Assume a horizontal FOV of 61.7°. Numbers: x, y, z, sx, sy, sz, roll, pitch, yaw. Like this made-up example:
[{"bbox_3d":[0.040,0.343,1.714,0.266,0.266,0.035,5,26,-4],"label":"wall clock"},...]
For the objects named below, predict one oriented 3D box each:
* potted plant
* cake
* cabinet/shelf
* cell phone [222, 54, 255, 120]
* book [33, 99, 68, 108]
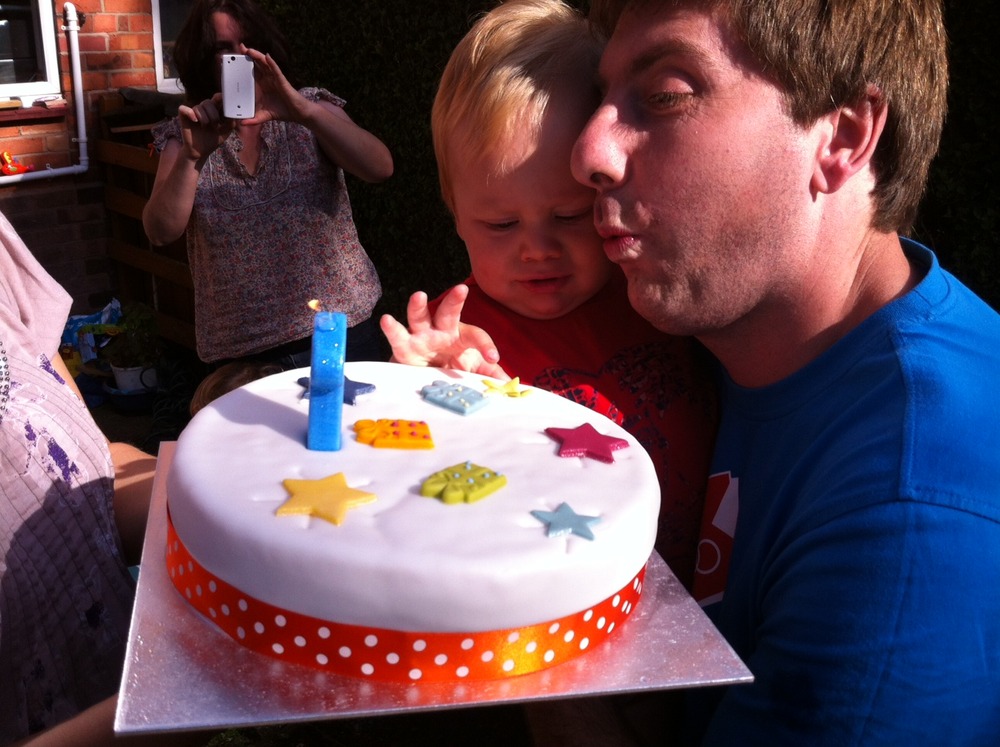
[{"bbox_3d":[-2.442,-0.161,5.597,0.477,0.805,0.563,-4,2,-9],"label":"potted plant"},{"bbox_3d":[-0.145,0.208,1.402,0.798,0.203,0.601,12,36,10],"label":"cake"},{"bbox_3d":[-2.116,-0.950,5.010,0.745,1.325,1.429,-5,15,-25],"label":"cabinet/shelf"},{"bbox_3d":[-0.878,-0.960,2.815,0.113,0.186,0.126,-7,34,-16],"label":"cell phone"},{"bbox_3d":[-3.012,-1.812,5.612,0.190,0.049,0.082,-23,43,-34],"label":"book"}]
